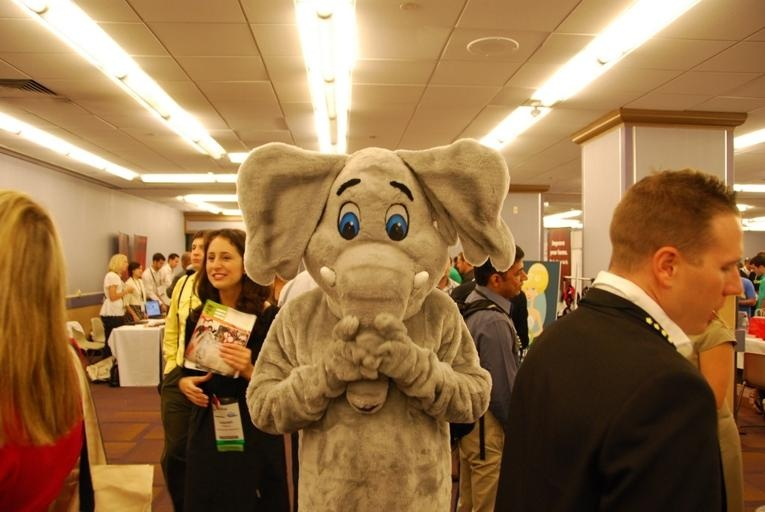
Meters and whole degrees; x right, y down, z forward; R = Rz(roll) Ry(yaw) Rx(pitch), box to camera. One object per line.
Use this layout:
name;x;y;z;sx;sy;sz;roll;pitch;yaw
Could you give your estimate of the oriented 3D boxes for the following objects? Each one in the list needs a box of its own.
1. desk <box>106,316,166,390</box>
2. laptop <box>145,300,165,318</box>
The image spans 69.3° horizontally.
desk;-3.231;1.283;7.496;0.701;0.748;1.006;1;0;-9
laptop;-3.719;0.858;9.024;0.188;0.352;0.365;-3;-1;17
